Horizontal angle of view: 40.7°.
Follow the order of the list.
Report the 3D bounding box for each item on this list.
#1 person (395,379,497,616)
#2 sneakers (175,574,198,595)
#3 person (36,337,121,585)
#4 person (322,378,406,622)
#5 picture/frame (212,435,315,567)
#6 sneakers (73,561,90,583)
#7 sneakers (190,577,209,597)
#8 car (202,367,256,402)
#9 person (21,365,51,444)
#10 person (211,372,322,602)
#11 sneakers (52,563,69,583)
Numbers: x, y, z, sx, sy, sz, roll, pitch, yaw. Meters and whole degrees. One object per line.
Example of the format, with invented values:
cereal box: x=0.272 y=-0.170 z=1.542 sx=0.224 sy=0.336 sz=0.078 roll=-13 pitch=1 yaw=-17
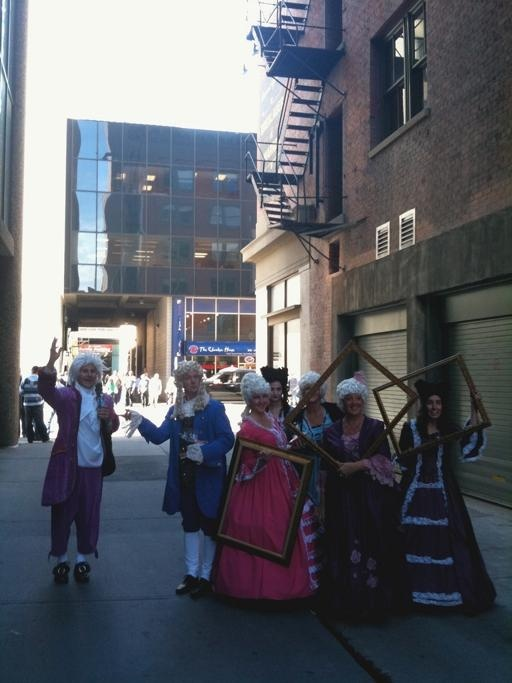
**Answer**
person: x=1.278 y=1.015 z=4.662 sx=0.615 sy=1.499 sz=0.658 roll=1 pitch=0 yaw=14
sneakers: x=-0.476 y=1.712 z=4.842 sx=0.068 sy=0.114 sz=0.227 roll=2 pitch=6 yaw=12
person: x=-1.340 y=0.899 z=5.214 sx=0.602 sy=1.825 sz=0.452 roll=1 pitch=0 yaw=-24
person: x=0.698 y=0.999 z=4.535 sx=0.588 sy=1.549 sz=0.548 roll=1 pitch=0 yaw=15
picture/frame: x=0.066 y=1.089 z=4.608 sx=0.559 sy=0.999 sz=0.089 roll=11 pitch=-18 yaw=8
sneakers: x=-1.292 y=1.714 z=5.148 sx=0.089 sy=0.161 sz=0.126 roll=8 pitch=-15 yaw=-21
sneakers: x=-0.385 y=1.710 z=4.777 sx=0.048 sy=0.136 sz=0.160 roll=-10 pitch=-23 yaw=25
car: x=-1.331 y=2.048 z=32.792 sx=2.575 sy=2.035 sz=1.931 roll=3 pitch=-4 yaw=-4
person: x=-4.880 y=1.338 z=15.208 sx=0.537 sy=1.751 sz=0.469 roll=-3 pitch=20 yaw=-24
person: x=0.024 y=0.931 z=4.752 sx=0.590 sy=1.774 sz=0.538 roll=7 pitch=37 yaw=5
sneakers: x=-1.457 y=1.735 z=5.157 sx=0.092 sy=0.145 sz=0.047 roll=11 pitch=-29 yaw=-29
